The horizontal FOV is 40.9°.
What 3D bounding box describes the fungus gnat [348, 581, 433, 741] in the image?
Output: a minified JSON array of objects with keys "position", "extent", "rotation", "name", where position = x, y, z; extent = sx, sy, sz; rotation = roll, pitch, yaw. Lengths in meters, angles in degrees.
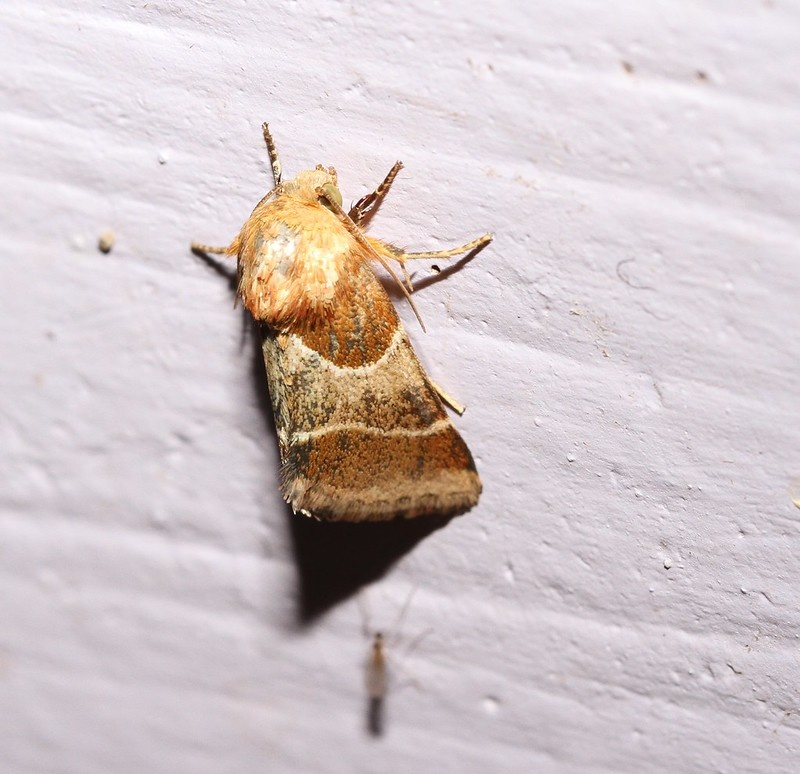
[{"position":[-0.024,0.525,2.056],"extent":[0.226,0.060,0.230],"rotation":[0,93,16],"name":"fungus gnat"}]
